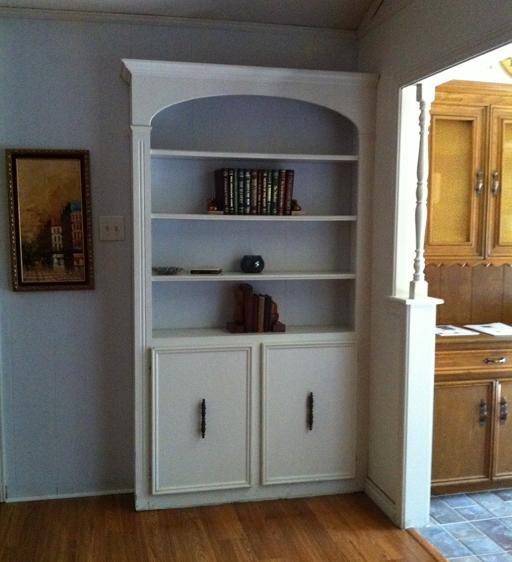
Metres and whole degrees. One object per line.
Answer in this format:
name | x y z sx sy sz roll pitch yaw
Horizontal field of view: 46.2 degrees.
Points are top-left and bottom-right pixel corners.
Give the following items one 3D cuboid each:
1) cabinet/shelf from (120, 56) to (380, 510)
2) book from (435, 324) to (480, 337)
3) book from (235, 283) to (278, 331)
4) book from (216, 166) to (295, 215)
cabinet/shelf | -0.028 0.032 3.288 1.327 2.295 0.469 -1 9 -12
book | 1.156 0.289 3.472 0.230 0.018 0.437 3 8 16
book | -0.007 0.147 3.260 0.272 0.297 0.259 0 -1 -3
book | -0.004 -0.483 3.235 0.438 0.250 0.210 0 9 -5
